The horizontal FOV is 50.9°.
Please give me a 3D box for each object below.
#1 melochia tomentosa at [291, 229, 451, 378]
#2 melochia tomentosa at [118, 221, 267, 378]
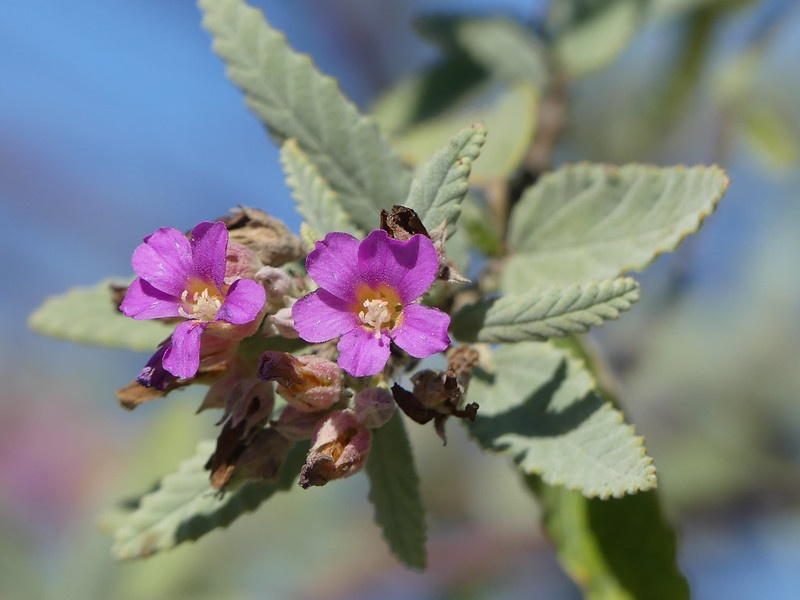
[{"bbox_3d":[-0.124,0.004,3.268,0.604,0.471,0.348,-7,27,2],"label":"melochia tomentosa"},{"bbox_3d":[-0.868,0.012,3.428,0.566,0.659,0.226,-25,61,-2],"label":"melochia tomentosa"}]
